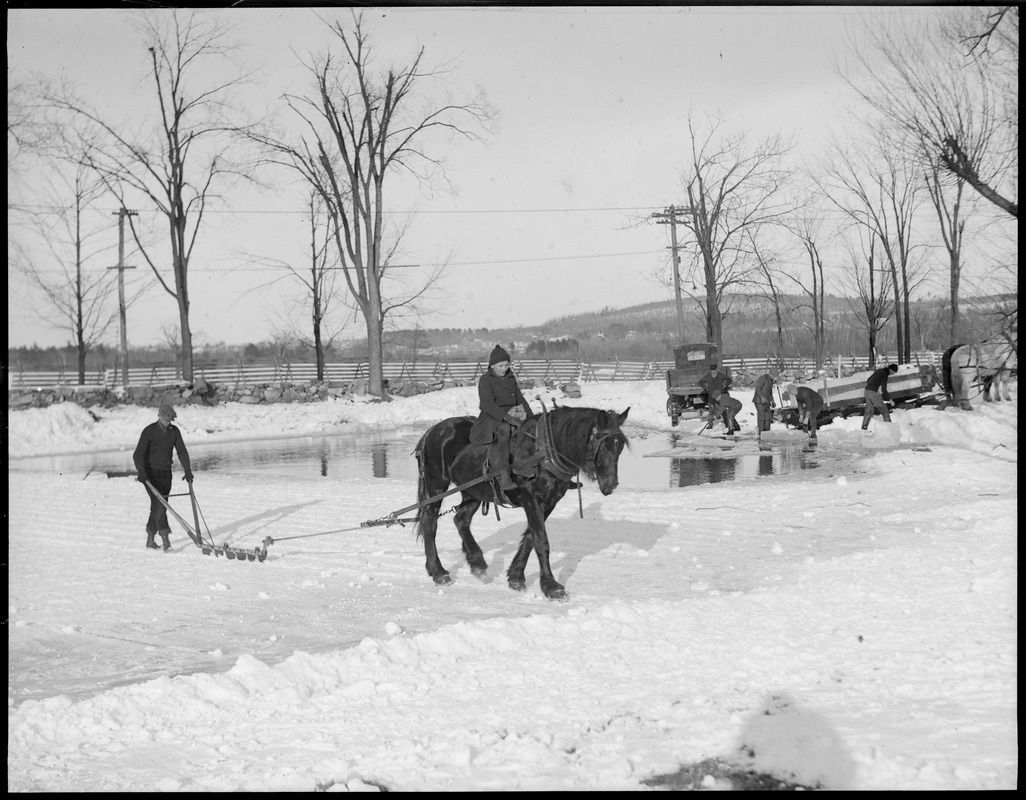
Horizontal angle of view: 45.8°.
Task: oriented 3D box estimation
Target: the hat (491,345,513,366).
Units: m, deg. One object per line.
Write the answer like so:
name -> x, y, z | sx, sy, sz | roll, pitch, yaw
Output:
hat -> -0.165, -0.603, 16.233 | 0.191, 0.248, 0.266 | -3, -7, -33

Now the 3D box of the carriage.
carriage -> 11.524, 0.035, 32.435 | 5.848, 3.307, 6.501 | -8, 9, -36

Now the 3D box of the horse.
horse -> 0.013, 1.255, 16.122 | 3.454, 2.539, 0.984 | 7, 12, 39

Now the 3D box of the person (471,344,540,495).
person -> -0.079, 0.205, 16.251 | 0.695, 2.134, 0.678 | -7, 8, -37

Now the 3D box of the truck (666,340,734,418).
truck -> 6.523, -0.701, 42.064 | 1.450, 2.196, 3.162 | -1, 14, 2
